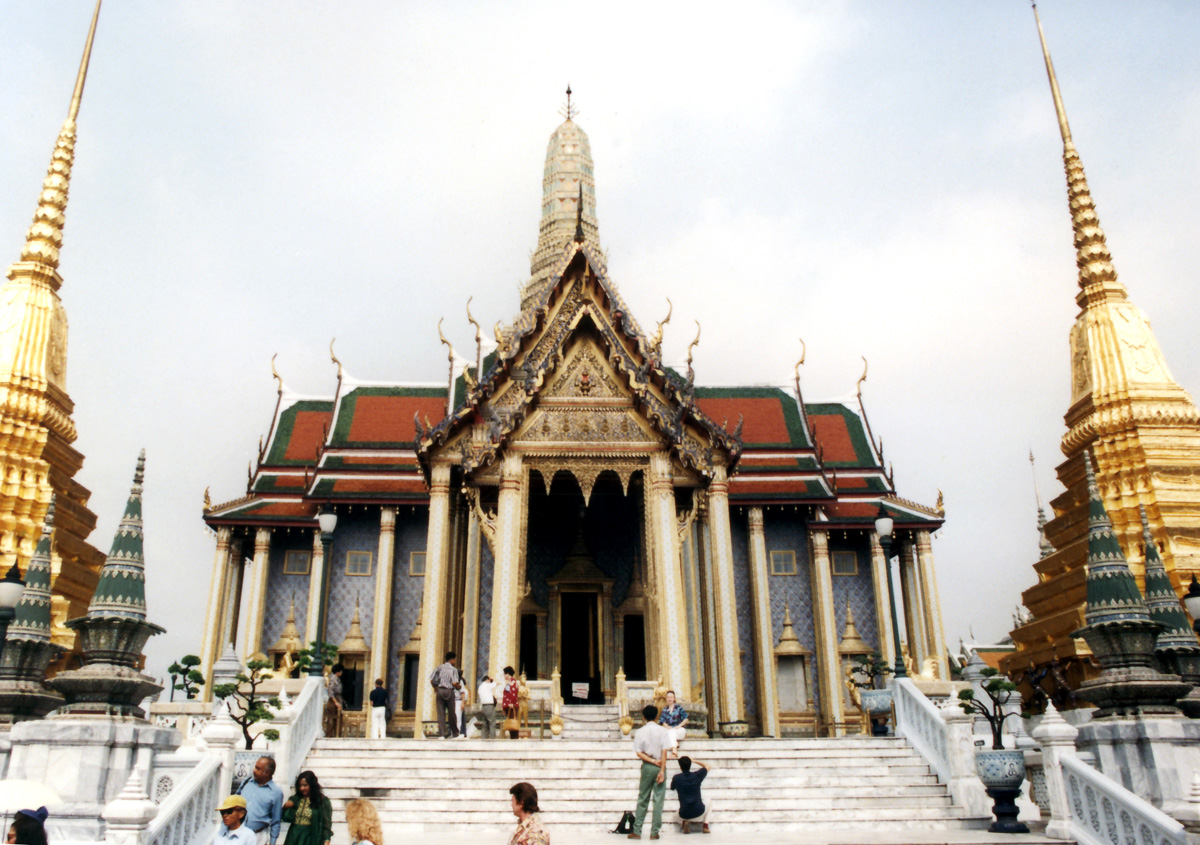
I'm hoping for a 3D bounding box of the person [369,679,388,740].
[{"bbox_3d":[-3.679,4.696,14.951,0.262,0.922,1.438,3,-19,-14],"label":"person"}]

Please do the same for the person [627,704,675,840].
[{"bbox_3d":[0.610,4.126,10.803,0.546,1.457,1.315,-3,-19,3],"label":"person"}]

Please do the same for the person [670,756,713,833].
[{"bbox_3d":[1.070,4.481,10.940,0.418,0.858,0.546,-3,-19,3],"label":"person"}]
